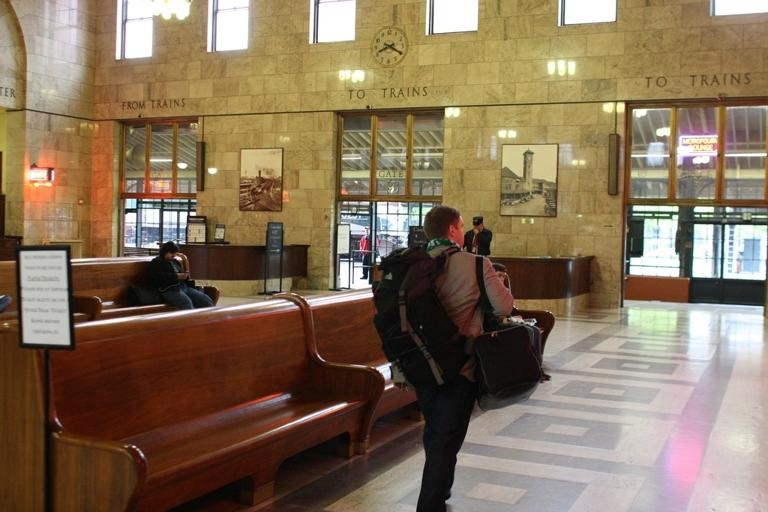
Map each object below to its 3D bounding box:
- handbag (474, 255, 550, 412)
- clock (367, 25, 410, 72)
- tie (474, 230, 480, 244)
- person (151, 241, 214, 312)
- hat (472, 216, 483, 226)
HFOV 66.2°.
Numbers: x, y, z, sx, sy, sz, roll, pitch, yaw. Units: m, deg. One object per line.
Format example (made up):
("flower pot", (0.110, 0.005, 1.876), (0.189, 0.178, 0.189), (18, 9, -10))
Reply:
("handbag", (0.838, 0.477, 3.808), (0.469, 0.823, 0.383), (-5, -9, 22))
("clock", (0.168, -5.119, 14.589), (1.299, 1.257, 0.112), (0, 1, 23))
("tie", (1.754, -0.336, 11.078), (0.065, 0.178, 0.134), (6, -4, -4))
("person", (-2.844, 0.426, 8.188), (0.895, 1.177, 0.565), (5, 7, 25))
("hat", (1.708, -0.625, 10.743), (0.231, 0.172, 0.301), (2, 7, 13))
